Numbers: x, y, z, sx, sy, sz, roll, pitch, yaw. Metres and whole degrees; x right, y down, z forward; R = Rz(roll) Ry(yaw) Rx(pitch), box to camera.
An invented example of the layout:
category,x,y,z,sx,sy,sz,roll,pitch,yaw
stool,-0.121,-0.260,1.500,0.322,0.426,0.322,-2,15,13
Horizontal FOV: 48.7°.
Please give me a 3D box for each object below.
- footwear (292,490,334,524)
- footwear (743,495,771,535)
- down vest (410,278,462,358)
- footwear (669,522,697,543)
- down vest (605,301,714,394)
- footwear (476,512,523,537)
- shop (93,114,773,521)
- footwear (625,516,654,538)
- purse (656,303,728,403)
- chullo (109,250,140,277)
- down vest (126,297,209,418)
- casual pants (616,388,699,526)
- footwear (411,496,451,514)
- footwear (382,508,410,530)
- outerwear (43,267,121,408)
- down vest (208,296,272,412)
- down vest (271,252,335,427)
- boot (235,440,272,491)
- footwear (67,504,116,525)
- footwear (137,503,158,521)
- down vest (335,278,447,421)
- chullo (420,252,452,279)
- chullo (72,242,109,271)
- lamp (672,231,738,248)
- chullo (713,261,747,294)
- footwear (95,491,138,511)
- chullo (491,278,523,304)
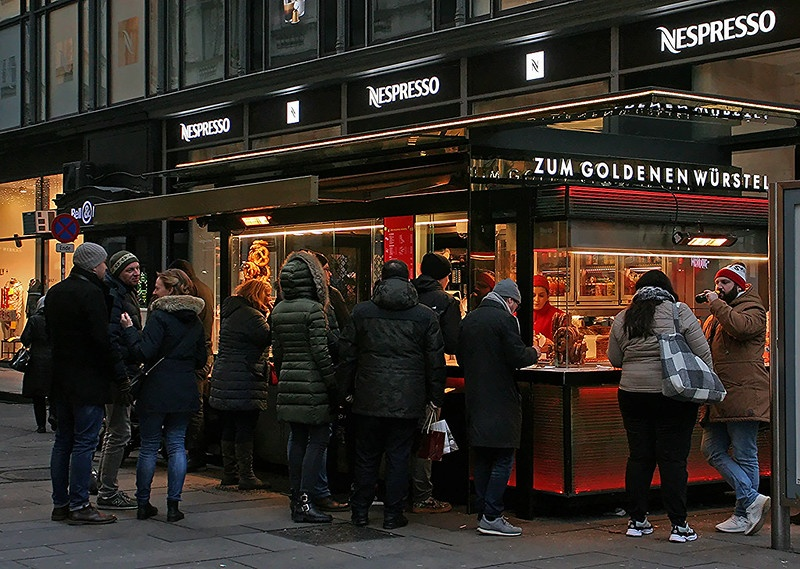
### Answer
category,x,y,z,sx,sy,sz,roll,pitch,yaw
footwear,-0.756,2.068,8.343,0.497,0.305,0.189,0,-2,-2
footwear,3.230,2.043,7.958,0.178,0.348,0.252,-4,-7,45
down vest,0.322,0.330,8.338,0.381,0.592,0.672,-12,18,-33
footwear,2.437,2.118,7.649,0.112,0.122,0.286,0,0,43
down vest,2.198,0.695,7.752,0.764,0.398,0.674,-18,19,8
footwear,0.890,2.133,7.924,0.416,0.172,0.155,2,-6,-2
shop,1.832,0.235,10.261,4.779,2.840,4.674,3,-5,-43
footwear,2.126,2.121,7.856,0.113,0.124,0.289,1,2,40
purse,2.496,0.607,7.622,0.669,0.893,0.269,18,-34,-28
chullo,-2.638,-0.231,8.439,0.261,0.201,0.250,-17,-7,-37
down vest,-2.154,0.631,8.114,0.729,1.075,0.328,2,-6,-13
casual pants,2.249,1.487,7.730,0.666,1.138,0.370,0,-6,14
footwear,0.301,2.148,8.715,0.377,0.148,0.144,-1,-3,-6
footwear,-0.005,2.111,8.044,0.109,0.189,0.292,2,2,42
outerwear,-2.932,0.455,8.166,0.838,1.148,0.614,-3,-6,35
down vest,-1.621,0.711,9.663,0.800,1.201,0.836,2,2,-23
down vest,-0.927,0.488,8.294,0.678,1.596,0.261,-1,-6,18
boot,-1.568,1.938,9.478,0.346,0.474,0.147,0,-16,-19
footwear,-2.788,2.055,8.025,0.418,0.163,0.178,0,-3,-10
footwear,-2.352,2.075,8.197,0.094,0.161,0.244,3,7,26
down vest,-0.062,0.576,8.220,1.061,1.179,0.466,2,-2,9
chullo,0.353,-0.157,8.817,0.216,0.233,0.279,-14,-23,20
chullo,-2.855,-0.258,8.181,0.308,0.255,0.265,1,8,-16
lamp,3.158,-0.426,9.254,0.558,0.117,0.254,4,-10,-19
chullo,3.101,-0.095,8.237,0.312,0.252,0.234,21,-10,11
footwear,-2.729,2.061,8.557,0.396,0.156,0.165,1,-2,-9
chullo,0.997,0.070,8.172,0.251,0.183,0.179,0,2,-25
